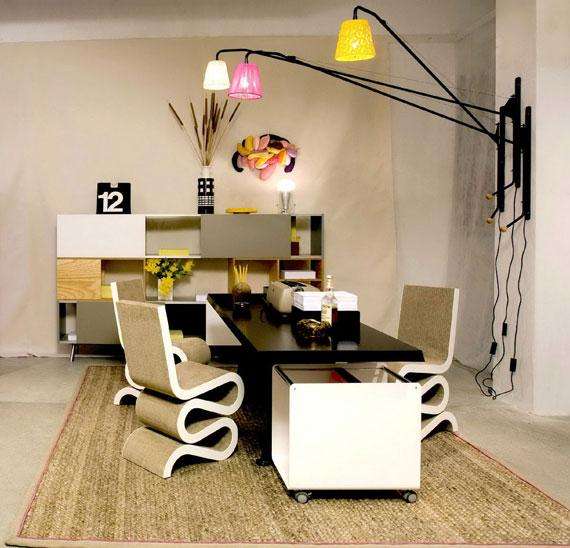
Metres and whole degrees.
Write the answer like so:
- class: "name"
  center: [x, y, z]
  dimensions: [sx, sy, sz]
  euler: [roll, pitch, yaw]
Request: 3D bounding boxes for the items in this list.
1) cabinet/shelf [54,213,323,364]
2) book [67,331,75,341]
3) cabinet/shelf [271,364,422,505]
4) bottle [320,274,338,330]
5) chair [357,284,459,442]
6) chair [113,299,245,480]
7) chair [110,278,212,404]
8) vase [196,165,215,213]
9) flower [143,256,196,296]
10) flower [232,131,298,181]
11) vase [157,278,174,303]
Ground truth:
- class: "cabinet/shelf"
  center: [-0.971, 0.106, 5.193]
  dimensions: [2.449, 1.666, 0.457]
  euler: [3, 10, -8]
- class: "book"
  center: [-1.999, 0.582, 4.904]
  dimensions: [0.052, 0.029, 0.113]
  euler: [0, 5, -9]
- class: "cabinet/shelf"
  center: [0.265, 0.642, 2.445]
  dimensions: [0.534, 0.577, 0.586]
  euler: [2, -2, -2]
- class: "bottle"
  center: [0.224, 0.140, 2.660]
  dimensions: [0.099, 0.293, 0.112]
  euler: [-6, 28, -9]
- class: "chair"
  center: [0.787, 0.519, 3.455]
  dimensions: [0.402, 0.927, 0.847]
  euler: [1, 2, -6]
- class: "chair"
  center: [-0.552, 0.552, 2.777]
  dimensions: [0.443, 0.858, 0.555]
  euler: [1, 3, 35]
- class: "chair"
  center: [-0.761, 0.588, 3.523]
  dimensions: [0.643, 0.921, 0.586]
  euler: [-4, 14, -40]
- class: "vase"
  center: [-0.738, -0.803, 5.074]
  dimensions: [0.228, 0.487, 0.236]
  euler: [0, 3, -33]
- class: "flower"
  center: [-1.115, -0.022, 5.071]
  dimensions: [0.332, 0.484, 0.445]
  euler: [-2, 4, -23]
- class: "flower"
  center: [-0.234, -1.190, 5.210]
  dimensions: [0.600, 0.505, 0.232]
  euler: [0, -3, -1]
- class: "vase"
  center: [-1.135, 0.135, 4.965]
  dimensions: [0.167, 0.385, 0.195]
  euler: [-1, 4, -11]
